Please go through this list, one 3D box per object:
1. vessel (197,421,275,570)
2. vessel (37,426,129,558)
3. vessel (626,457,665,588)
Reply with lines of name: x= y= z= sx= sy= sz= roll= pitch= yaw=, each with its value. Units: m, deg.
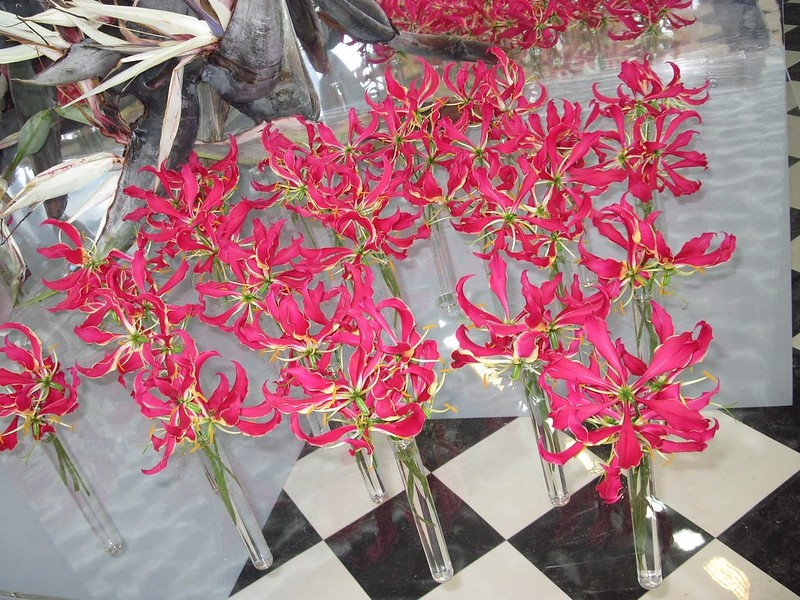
vessel: x=-0.303 y=0.394 z=1.144 sx=0.068 sy=0.356 sz=0.058 roll=-10 pitch=26 yaw=28
vessel: x=-0.537 y=0.339 z=1.053 sx=0.058 sy=0.254 sz=0.041 roll=-15 pitch=26 yaw=27
vessel: x=0.384 y=0.354 z=0.979 sx=0.036 sy=0.191 sz=0.033 roll=9 pitch=-17 yaw=-12
